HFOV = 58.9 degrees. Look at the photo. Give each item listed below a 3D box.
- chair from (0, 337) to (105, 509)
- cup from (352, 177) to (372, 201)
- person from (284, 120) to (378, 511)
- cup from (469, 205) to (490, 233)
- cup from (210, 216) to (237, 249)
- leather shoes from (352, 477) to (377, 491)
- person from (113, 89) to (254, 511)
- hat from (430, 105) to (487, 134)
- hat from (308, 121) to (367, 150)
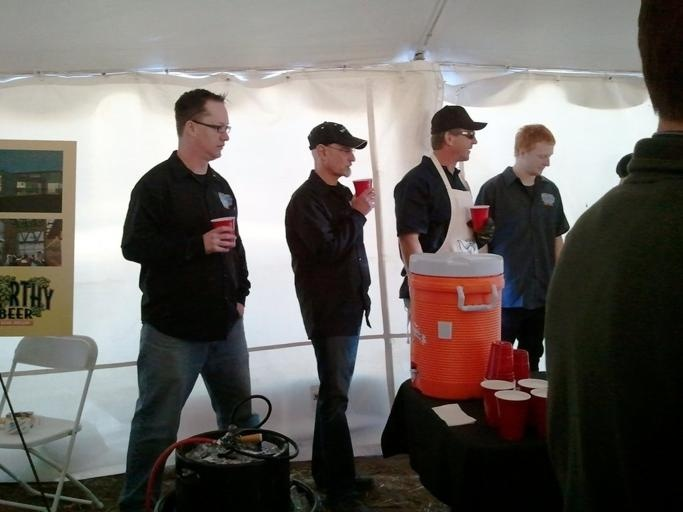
[{"bbox_3d":[-1.873,1.047,3.871,0.631,1.128,0.640,-3,4,-22],"label":"chair"},{"bbox_3d":[0.129,-0.431,3.786,0.106,0.084,0.112,-1,-2,0],"label":"cup"},{"bbox_3d":[-0.043,0.319,3.738,0.541,2.327,0.504,-2,4,-8],"label":"person"},{"bbox_3d":[0.826,-0.233,3.633,0.146,0.145,0.143,-2,2,0],"label":"cup"},{"bbox_3d":[-0.638,-0.154,3.289,0.118,0.090,0.110,-4,0,0],"label":"cup"},{"bbox_3d":[0.146,1.417,3.801,0.115,0.057,0.120,-4,-8,41],"label":"leather shoes"},{"bbox_3d":[-0.900,0.204,3.392,0.715,2.277,0.465,-3,4,-12],"label":"person"},{"bbox_3d":[0.703,-0.844,3.692,0.277,0.140,0.175,-6,15,11],"label":"hat"},{"bbox_3d":[-0.038,-0.746,3.862,0.293,0.148,0.183,-8,10,10],"label":"hat"}]
